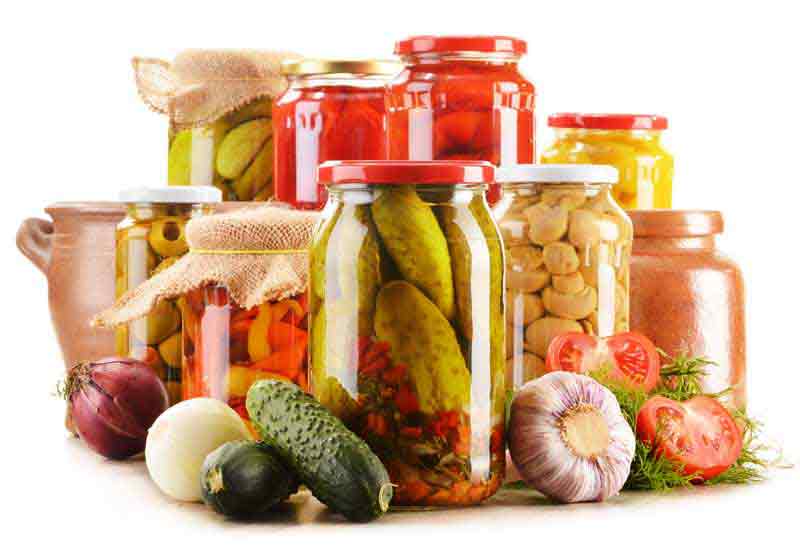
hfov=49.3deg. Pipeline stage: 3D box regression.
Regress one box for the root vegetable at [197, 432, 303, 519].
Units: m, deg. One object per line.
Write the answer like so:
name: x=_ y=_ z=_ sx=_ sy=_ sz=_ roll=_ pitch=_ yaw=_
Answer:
root vegetable: x=-0.415 y=0.549 z=2.530 sx=0.343 sy=0.179 sz=0.350 roll=0 pitch=5 yaw=-14

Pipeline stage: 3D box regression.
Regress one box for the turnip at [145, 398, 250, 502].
turnip: x=-0.642 y=0.506 z=2.702 sx=0.333 sy=0.254 sz=0.415 roll=-4 pitch=10 yaw=-26

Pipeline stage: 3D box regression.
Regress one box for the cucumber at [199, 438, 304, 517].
cucumber: x=-0.418 y=0.555 z=2.540 sx=0.353 sy=0.177 sz=0.359 roll=0 pitch=4 yaw=-15

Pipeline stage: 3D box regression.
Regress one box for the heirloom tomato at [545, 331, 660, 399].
heirloom tomato: x=0.648 y=0.281 z=2.768 sx=0.350 sy=0.226 sz=0.081 roll=1 pitch=-38 yaw=9
